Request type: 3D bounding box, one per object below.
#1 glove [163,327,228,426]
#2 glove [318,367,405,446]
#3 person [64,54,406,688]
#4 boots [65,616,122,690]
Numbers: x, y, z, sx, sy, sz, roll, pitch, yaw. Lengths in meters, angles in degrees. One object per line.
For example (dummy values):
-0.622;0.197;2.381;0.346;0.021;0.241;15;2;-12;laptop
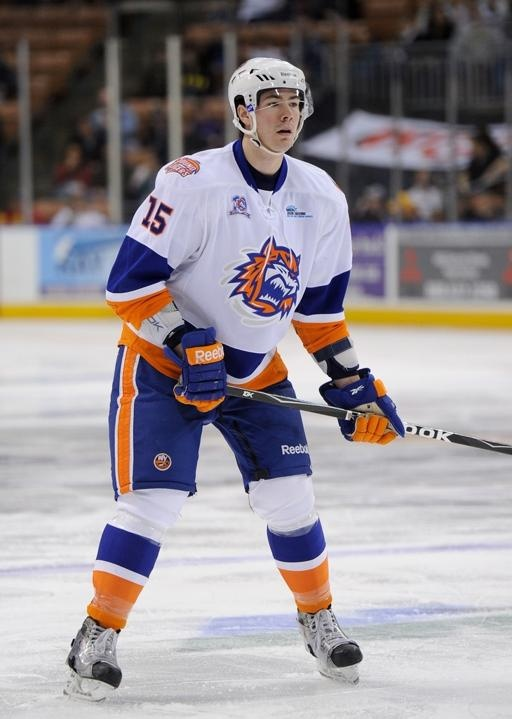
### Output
-0.110;0.021;1.886;0.143;0.157;0.059;-5;11;-43;glove
0.277;0.116;2.288;0.190;0.198;0.087;-34;8;18;glove
-0.032;0.014;2.043;0.539;1.371;0.886;9;14;38;person
-0.321;0.584;1.871;0.102;0.125;0.111;-2;10;-11;boots
